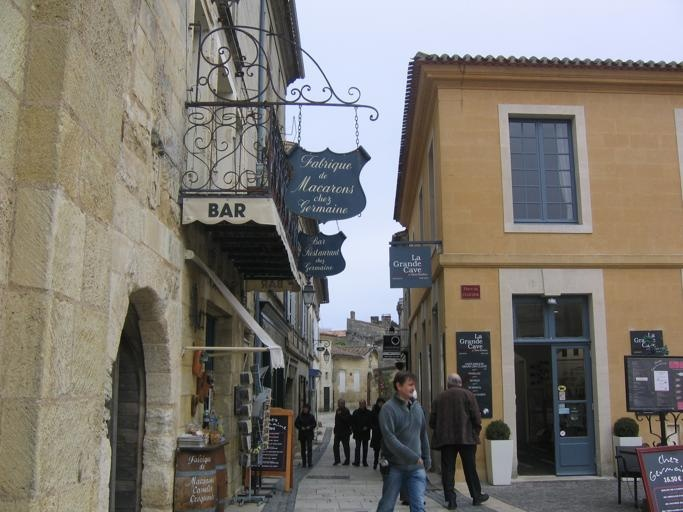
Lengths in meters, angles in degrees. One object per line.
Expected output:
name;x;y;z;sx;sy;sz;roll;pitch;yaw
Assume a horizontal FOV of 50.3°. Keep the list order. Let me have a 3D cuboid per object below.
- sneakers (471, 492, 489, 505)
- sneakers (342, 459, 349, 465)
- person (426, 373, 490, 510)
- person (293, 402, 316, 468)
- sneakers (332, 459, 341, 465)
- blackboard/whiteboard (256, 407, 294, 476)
sneakers;1.960;3.339;10.088;0.138;0.160;0.319;-13;-20;42
sneakers;0.138;4.952;17.575;0.151;0.128;0.553;0;-16;-1
person;1.641;2.547;10.247;0.768;1.848;0.774;-3;-14;11
person;-0.873;4.343;17.829;0.498;1.536;1.440;1;-15;-2
sneakers;-0.105;4.998;17.780;0.182;0.210;0.104;3;-9;-3
blackboard/whiteboard;-1.087;3.150;12.461;0.502;1.127;0.383;2;-14;-8
